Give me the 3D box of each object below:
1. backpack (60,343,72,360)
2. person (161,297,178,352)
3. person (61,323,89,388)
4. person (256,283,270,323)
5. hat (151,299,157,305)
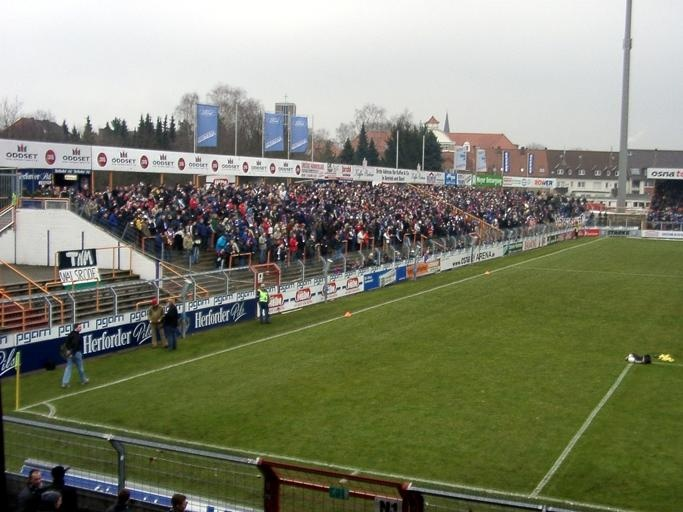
[{"bbox_3d":[-8.740,3.065,33.402,0.407,0.576,0.214,-15,-1,-38],"label":"backpack"},{"bbox_3d":[-6.189,2.363,38.117,0.537,1.862,1.590,0,10,-10],"label":"person"},{"bbox_3d":[-8.556,3.059,33.975,0.779,2.086,1.460,1,10,-6],"label":"person"},{"bbox_3d":[-3.103,1.869,42.190,0.470,1.531,1.038,1,10,-4],"label":"person"},{"bbox_3d":[-6.831,1.676,38.603,0.254,0.204,0.265,0,0,30],"label":"hat"}]
